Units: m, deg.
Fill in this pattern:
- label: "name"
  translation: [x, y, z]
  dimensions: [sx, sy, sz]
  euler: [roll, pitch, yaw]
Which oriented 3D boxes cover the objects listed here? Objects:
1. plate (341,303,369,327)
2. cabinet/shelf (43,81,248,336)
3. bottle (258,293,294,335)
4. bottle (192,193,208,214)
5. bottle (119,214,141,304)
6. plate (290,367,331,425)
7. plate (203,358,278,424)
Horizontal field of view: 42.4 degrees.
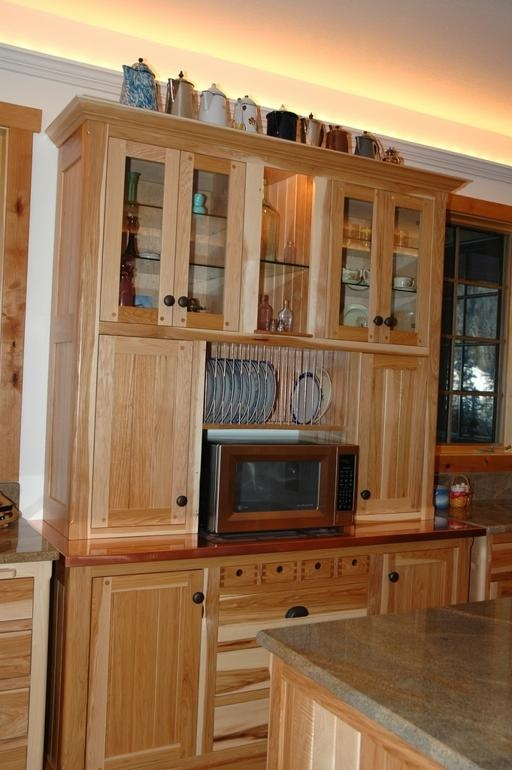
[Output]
- label: "plate"
  translation: [0.383, -0.265, 2.537]
  dimensions: [0.120, 0.098, 0.027]
  euler: [5, -5, -38]
- label: "cabinet/shelf"
  translation: [-0.309, -0.518, 2.127]
  dimensions: [0.622, 0.664, 0.222]
  euler: [4, -5, -30]
- label: "bottle"
  translation: [0.067, -0.253, 2.399]
  dimensions: [0.057, 0.151, 0.165]
  euler: [-2, -3, 45]
- label: "bottle"
  translation: [-0.188, -0.604, 2.206]
  dimensions: [0.065, 0.071, 0.062]
  euler: [2, 2, -9]
- label: "bottle"
  translation: [-0.400, -0.391, 2.076]
  dimensions: [0.022, 0.285, 0.072]
  euler: [-2, -5, 42]
- label: "plate"
  translation: [0.218, 0.041, 2.623]
  dimensions: [0.165, 0.228, 0.111]
  euler: [2, -4, -3]
- label: "plate"
  translation: [-0.064, 0.025, 2.376]
  dimensions: [0.250, 0.212, 0.026]
  euler: [-1, 2, -28]
